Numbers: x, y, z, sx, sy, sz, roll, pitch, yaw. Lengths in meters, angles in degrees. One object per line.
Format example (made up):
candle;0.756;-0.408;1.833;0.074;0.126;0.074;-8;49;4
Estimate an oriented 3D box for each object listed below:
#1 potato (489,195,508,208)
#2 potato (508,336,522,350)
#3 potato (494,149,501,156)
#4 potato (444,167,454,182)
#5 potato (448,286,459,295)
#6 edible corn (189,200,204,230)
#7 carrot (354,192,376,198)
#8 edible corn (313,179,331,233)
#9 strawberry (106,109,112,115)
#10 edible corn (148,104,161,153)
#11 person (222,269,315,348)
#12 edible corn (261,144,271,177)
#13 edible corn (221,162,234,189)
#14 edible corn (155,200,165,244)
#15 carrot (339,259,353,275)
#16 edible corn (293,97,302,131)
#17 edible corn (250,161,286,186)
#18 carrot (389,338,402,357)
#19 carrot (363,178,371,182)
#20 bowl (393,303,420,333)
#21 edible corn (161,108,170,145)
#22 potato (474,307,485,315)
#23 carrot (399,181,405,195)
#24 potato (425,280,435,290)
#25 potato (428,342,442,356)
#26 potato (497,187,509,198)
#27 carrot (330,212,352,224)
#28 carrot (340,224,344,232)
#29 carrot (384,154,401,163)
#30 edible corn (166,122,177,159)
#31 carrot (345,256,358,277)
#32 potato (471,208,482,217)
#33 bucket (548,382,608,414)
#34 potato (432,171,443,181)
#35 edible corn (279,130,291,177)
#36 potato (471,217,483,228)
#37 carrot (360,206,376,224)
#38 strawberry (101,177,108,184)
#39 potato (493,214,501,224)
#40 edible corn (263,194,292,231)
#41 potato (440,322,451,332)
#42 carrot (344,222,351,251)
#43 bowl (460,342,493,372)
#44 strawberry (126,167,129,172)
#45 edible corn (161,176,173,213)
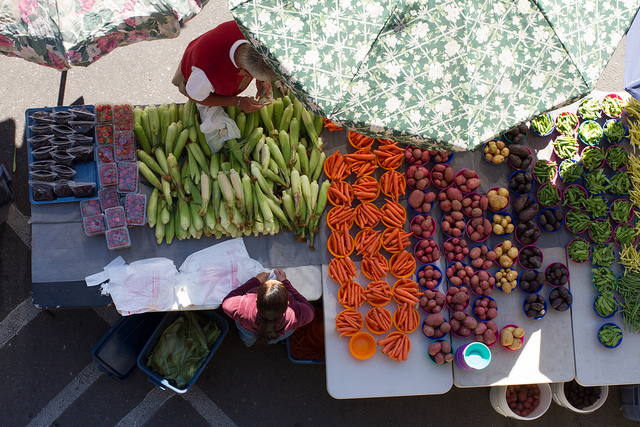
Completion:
potato;2.141;-0.154;6.565;0.210;0.149;0.108;21;47;12
potato;2.314;1.538;6.471;0.132;0.075;0.147;2;84;14
potato;2.174;-0.763;6.683;0.056;0.073;0.060;3;27;5
potato;1.539;-0.475;6.519;0.098;0.145;0.101;-3;13;17
potato;1.581;0.912;6.473;0.096;0.082;0.056;-10;8;22
edible corn;-1.512;0.011;6.650;0.091;0.089;0.358;-23;79;1
carrot;0.544;-0.235;6.603;0.291;0.084;0.083;4;8;1
edible corn;0.013;-0.149;6.705;0.134;0.125;0.744;10;85;14
strawberry;-2.597;-1.249;6.637;0.067;0.049;0.043;-7;47;-14
edible corn;-2.027;-1.048;6.689;0.117;0.584;0.148;0;19;2
person;-0.768;1.131;7.057;1.064;2.628;0.953;7;79;-9
edible corn;-0.681;-0.674;6.686;0.085;0.356;0.089;-2;9;2
edible corn;-1.147;-0.483;6.646;0.073;0.086;0.342;-23;69;29
edible corn;-1.969;0.118;6.609;0.087;0.071;0.433;-2;83;-1
carrot;0.290;0.614;6.516;0.055;0.053;0.247;-32;92;-30
edible corn;-0.273;-1.243;6.687;0.090;0.366;0.103;0;16;21
edible corn;-0.661;-0.510;6.659;0.381;0.065;0.072;40;19;-4
carrot;0.882;1.555;6.405;0.066;0.042;0.291;22;85;31
carrot;0.554;-0.412;6.593;0.083;0.017;0.051;1;47;-7
bowl;1.013;1.232;6.279;0.300;0.335;0.139;7;9;0
edible corn;-1.916;-1.084;6.670;0.099;0.407;0.116;10;3;9
potato;1.886;1.149;6.447;0.112;0.064;0.070;18;47;9
carrot;0.979;-0.317;6.560;0.038;0.034;0.158;-16;87;7
potato;1.289;0.847;6.485;0.087;0.112;0.095;4;43;-5
potato;1.339;1.572;6.361;0.149;0.119;0.120;17;46;8
potato;2.212;-0.267;6.590;0.112;0.100;0.102;9;11;-45
carrot;0.246;0.049;6.560;0.205;0.038;0.042;-30;91;-4
carrot;0.255;0.170;6.542;0.039;0.022;0.073;5;82;7
carrot;0.850;-0.673;6.593;0.162;0.081;0.044;-7;47;-14
edible corn;-1.837;-0.882;6.664;0.109;0.113;0.451;14;87;-11
carrot;0.368;0.613;6.503;0.067;0.069;0.279;-23;86;7
potato;1.861;-0.018;6.493;0.100;0.080;0.084;-3;76;2
bucket;3.422;2.382;7.295;0.575;0.587;0.638;-4;76;3
potato;1.416;-0.457;6.566;0.133;0.100;0.060;12;45;4
edible corn;-0.421;-0.741;6.749;0.109;0.590;0.136;-9;8;6
potato;1.869;0.101;6.495;0.103;0.060;0.115;7;87;14
carrot;0.577;0.031;6.584;0.057;0.068;0.300;-32;82;-35
strawberry;-2.636;-0.405;6.584;0.070;0.057;0.050;-3;46;-10
potato;2.140;0.060;6.576;0.059;0.064;0.087;-9;82;-3
edible corn;-0.535;-0.008;6.621;0.089;0.074;0.470;-32;91;8
potato;1.469;1.333;6.392;0.054;0.101;0.100;13;47;-55
carrot;0.316;0.281;6.520;0.056;0.312;0.069;-9;-4;31
bowl;1.807;1.661;6.331;0.295;0.191;0.330;-4;81;0
strawberry;-2.361;-0.539;6.614;0.036;0.037;0.042;-21;52;-25
edible corn;-1.865;-0.249;6.611;0.075;0.080;0.473;-9;90;0
